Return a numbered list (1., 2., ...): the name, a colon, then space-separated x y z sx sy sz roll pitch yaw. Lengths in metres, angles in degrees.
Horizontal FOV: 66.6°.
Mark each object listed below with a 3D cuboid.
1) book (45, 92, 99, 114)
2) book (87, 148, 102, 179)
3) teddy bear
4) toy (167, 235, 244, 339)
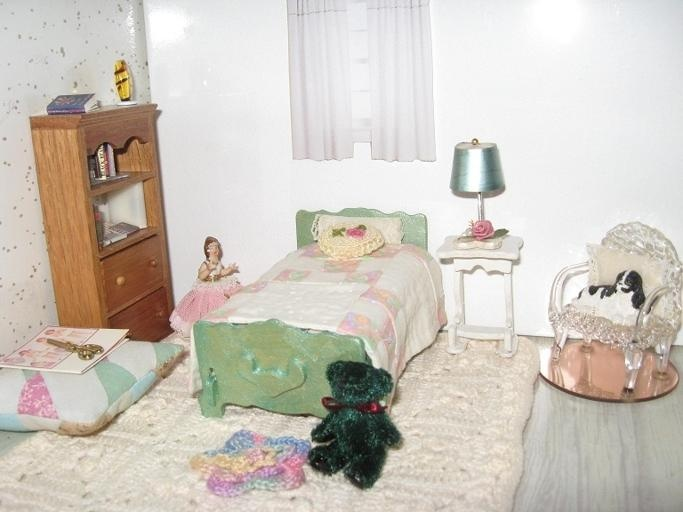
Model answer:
1. book: -1.937 -1.089 3.735 0.307 0.128 0.294 -6 19 -9
2. book: -1.913 -0.712 4.034 0.107 0.236 0.060 -16 22 -34
3. teddy bear: 0.063 0.919 2.801 0.511 0.650 0.307 -6 19 -8
4. toy: -1.103 0.238 4.267 0.435 0.675 0.649 7 22 18
